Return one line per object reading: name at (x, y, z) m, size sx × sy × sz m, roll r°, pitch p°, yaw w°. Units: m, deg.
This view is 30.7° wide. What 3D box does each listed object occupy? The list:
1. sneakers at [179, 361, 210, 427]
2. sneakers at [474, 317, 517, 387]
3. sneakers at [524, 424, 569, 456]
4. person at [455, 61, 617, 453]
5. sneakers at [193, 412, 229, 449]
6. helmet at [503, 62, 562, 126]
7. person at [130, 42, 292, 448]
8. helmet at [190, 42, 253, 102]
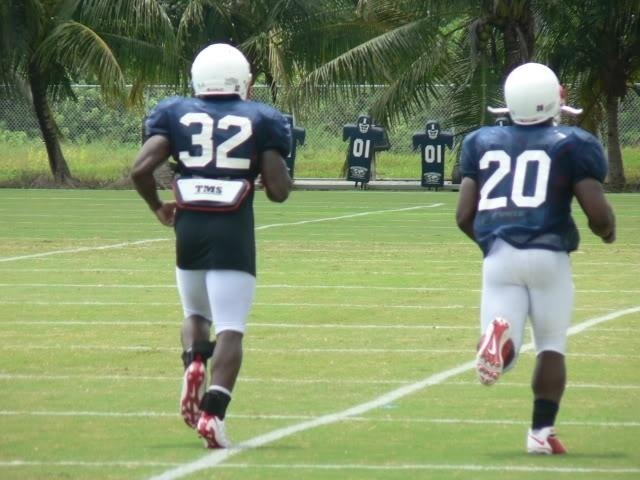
sneakers at (-0.748, 0.887, 6.804) m, size 0.144 × 0.350 × 0.189 m, roll 6°, pitch -4°, yaw -11°
sneakers at (1.002, 0.624, 6.660) m, size 0.197 × 0.373 × 0.172 m, roll 21°, pitch -14°, yaw 10°
sneakers at (1.313, 1.146, 6.709) m, size 0.259 × 0.103 × 0.113 m, roll 4°, pitch -1°, yaw -32°
person at (1.228, 0.085, 6.861) m, size 0.819 × 2.174 × 0.668 m, roll 8°, pitch 16°, yaw 36°
sneakers at (-0.617, 1.086, 6.767) m, size 0.126 × 0.243 × 0.122 m, roll -36°, pitch 27°, yaw -15°
helmet at (1.310, -0.858, 6.985) m, size 0.374 × 0.330 × 0.472 m, roll -5°, pitch 7°, yaw 25°
person at (-0.701, -0.008, 7.011) m, size 0.821 × 2.265 × 0.975 m, roll 8°, pitch 15°, yaw 33°
helmet at (-0.646, -1.009, 7.190) m, size 0.442 × 0.376 × 0.507 m, roll -3°, pitch -7°, yaw 3°
